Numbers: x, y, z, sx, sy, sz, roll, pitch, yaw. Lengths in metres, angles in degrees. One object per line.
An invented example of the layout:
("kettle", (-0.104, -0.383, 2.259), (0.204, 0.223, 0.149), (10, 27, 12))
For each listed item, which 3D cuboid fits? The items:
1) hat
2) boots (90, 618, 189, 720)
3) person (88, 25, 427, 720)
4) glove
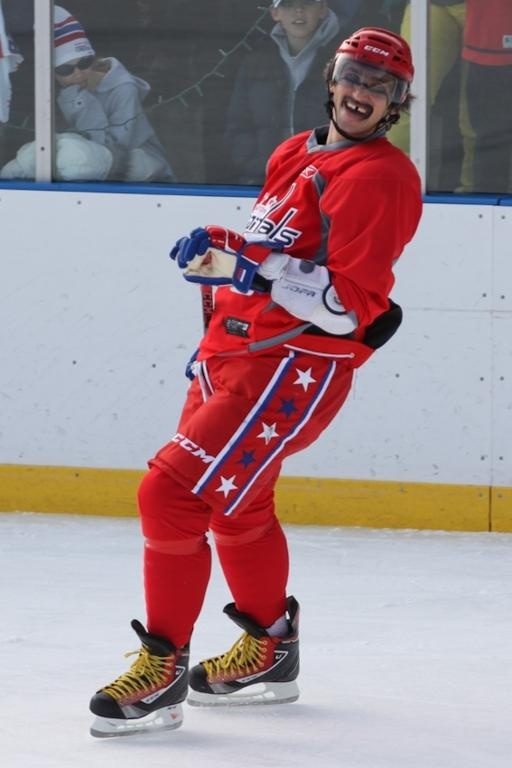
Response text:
("hat", (-0.648, -1.193, 3.242), (0.143, 0.130, 0.214), (-39, 27, -24))
("boots", (-0.217, 0.524, 1.728), (0.092, 0.164, 0.247), (-1, -12, 31))
("person", (-0.001, -0.012, 1.752), (0.555, 1.298, 0.334), (2, 8, -5))
("glove", (-0.058, -0.222, 1.653), (0.204, 0.099, 0.079), (9, 23, 19))
